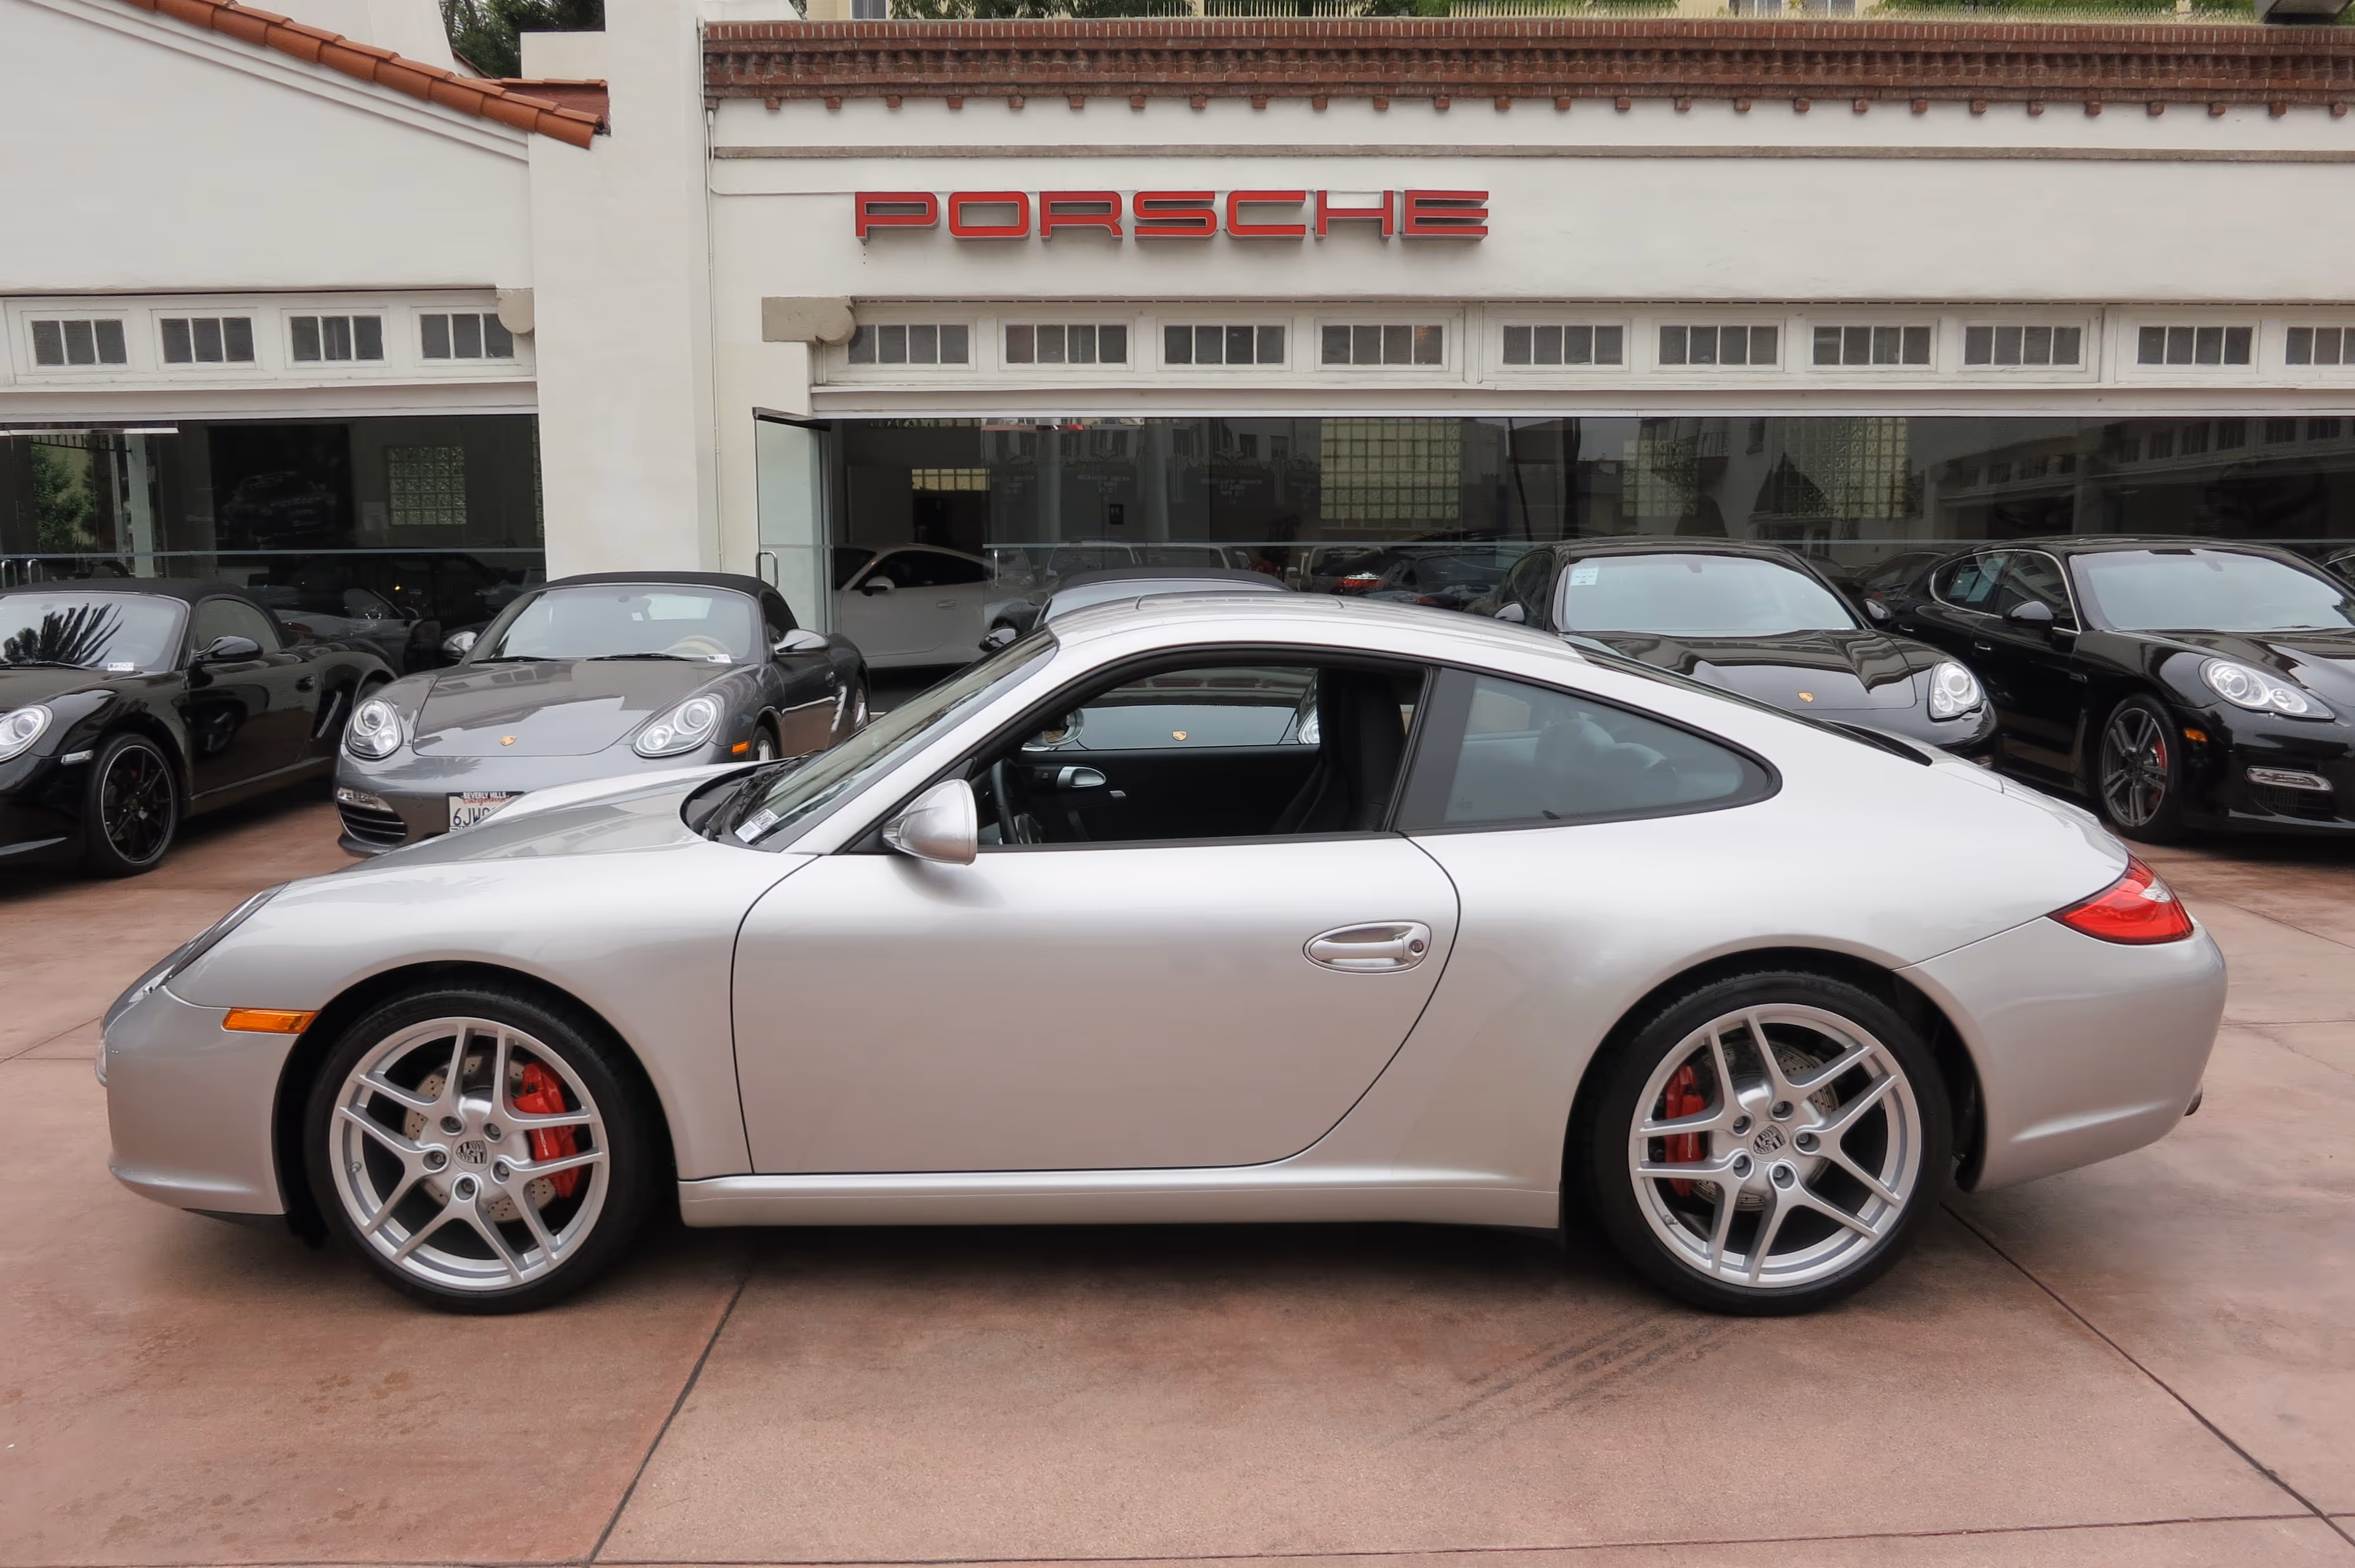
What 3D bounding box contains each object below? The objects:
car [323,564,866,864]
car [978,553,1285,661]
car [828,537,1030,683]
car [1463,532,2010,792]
[{"bbox_3d":[-3.212,-0.515,9.324,1.665,1.024,3.356,1,8,0],"label":"car"},{"bbox_3d":[-0.429,-1.377,11.853,2.342,0.644,1.291,1,8,-2],"label":"car"},{"bbox_3d":[-2.494,-1.566,15.048,2.150,0.658,0.931,-4,19,-7],"label":"car"},{"bbox_3d":[3.356,-0.768,9.805,1.498,0.862,2.966,2,4,-2],"label":"car"}]
